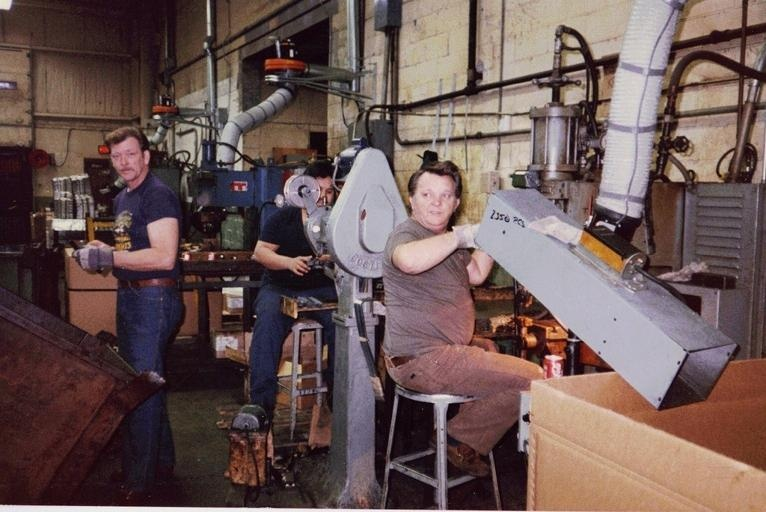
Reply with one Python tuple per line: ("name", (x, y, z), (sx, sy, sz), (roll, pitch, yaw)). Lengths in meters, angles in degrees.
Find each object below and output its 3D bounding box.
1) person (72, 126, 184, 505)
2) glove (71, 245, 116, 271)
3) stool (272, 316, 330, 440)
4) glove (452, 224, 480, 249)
("person", (-1.588, 0.358, 4.678), (0.543, 2.355, 0.570), (8, 12, 34))
("glove", (-1.861, 0.031, 4.574), (0.234, 0.200, 0.218), (-4, 12, -27))
("stool", (-0.630, 0.902, 5.567), (0.386, 0.884, 0.915), (0, 10, -5))
("glove", (0.450, -0.100, 3.720), (0.099, 0.120, 0.174), (-5, 12, -31))
